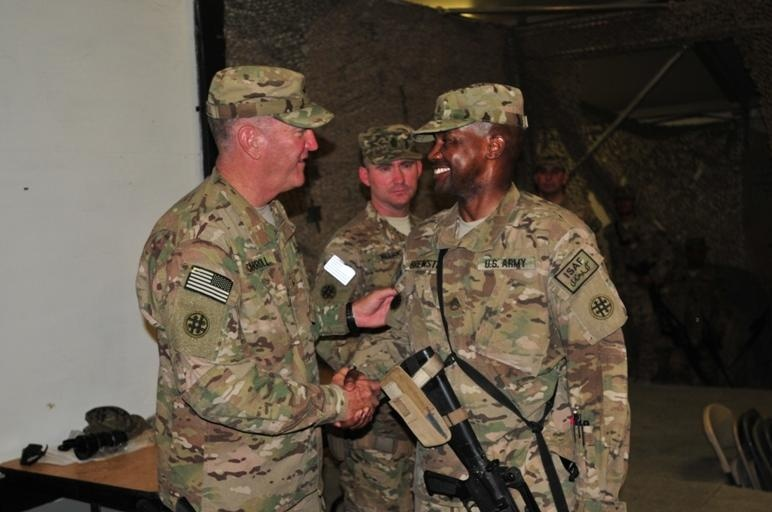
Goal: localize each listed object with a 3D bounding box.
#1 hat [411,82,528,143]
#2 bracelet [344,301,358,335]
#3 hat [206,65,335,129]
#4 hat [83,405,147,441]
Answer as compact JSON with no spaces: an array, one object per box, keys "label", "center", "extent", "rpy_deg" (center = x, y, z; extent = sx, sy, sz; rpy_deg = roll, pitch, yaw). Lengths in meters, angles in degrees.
[{"label":"hat","center":[0.515,-0.841,5.041],"extent":[0.687,0.284,0.469],"rpy_deg":[-1,4,5]},{"label":"bracelet","center":[-0.195,0.373,5.143],"extent":[0.046,0.143,0.107],"rpy_deg":[-9,22,2]},{"label":"hat","center":[-0.627,-0.924,4.943],"extent":[0.757,0.294,0.481],"rpy_deg":[1,20,0]},{"label":"hat","center":[-1.819,1.060,5.840],"extent":[0.312,0.143,0.375],"rpy_deg":[5,1,8]}]
